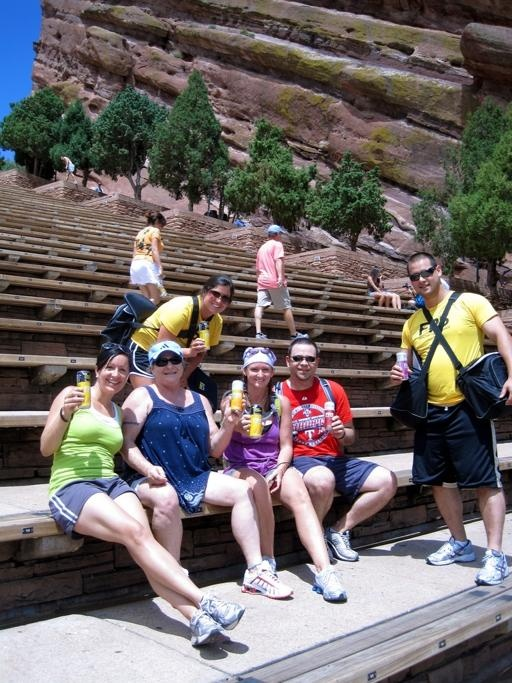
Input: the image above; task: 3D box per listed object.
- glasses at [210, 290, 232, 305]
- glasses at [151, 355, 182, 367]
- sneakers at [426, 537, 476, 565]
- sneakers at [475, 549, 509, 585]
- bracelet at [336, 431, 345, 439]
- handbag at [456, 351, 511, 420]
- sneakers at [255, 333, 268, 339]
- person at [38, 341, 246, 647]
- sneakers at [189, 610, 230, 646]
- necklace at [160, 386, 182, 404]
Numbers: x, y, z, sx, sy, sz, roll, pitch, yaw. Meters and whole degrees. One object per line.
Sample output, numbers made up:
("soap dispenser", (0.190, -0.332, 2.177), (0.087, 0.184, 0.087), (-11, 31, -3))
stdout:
("glasses", (-0.220, -0.299, 3.481), (0.082, 0.086, 0.156), (11, 11, 39))
("glasses", (-0.464, 0.100, 2.758), (0.089, 0.075, 0.024), (3, 25, -16))
("sneakers", (1.233, 1.344, 3.354), (0.351, 0.146, 0.126), (1, -11, -11))
("sneakers", (1.278, 1.215, 2.818), (0.137, 0.159, 0.247), (10, 10, 32))
("bracelet", (0.534, 0.570, 3.248), (0.054, 0.056, 0.062), (-1, -39, 15))
("handbag", (1.307, 0.261, 2.997), (0.212, 0.329, 0.267), (-30, -50, 34))
("sneakers", (0.062, -0.070, 6.383), (0.054, 0.055, 0.147), (8, 7, 35))
("person", (-0.593, 0.587, 2.297), (0.536, 0.983, 1.335), (-1, 9, -33))
("sneakers", (-0.182, 1.051, 1.914), (0.086, 0.075, 0.172), (16, -34, -30))
("necklace", (-0.462, 0.289, 2.849), (0.089, 0.051, 0.108), (5, 8, -35))
